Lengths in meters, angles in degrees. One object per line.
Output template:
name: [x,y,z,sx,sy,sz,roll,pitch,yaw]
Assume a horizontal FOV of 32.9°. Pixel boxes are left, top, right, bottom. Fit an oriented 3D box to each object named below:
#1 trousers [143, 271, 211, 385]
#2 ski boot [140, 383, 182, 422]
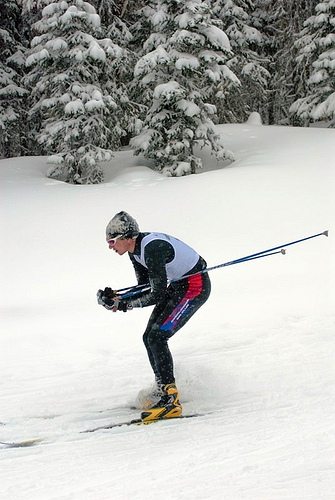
trousers: [0.068,0.613,4.609,0.582,0.843,0.337,-13,13,-26]
ski boot: [-0.042,1.182,4.418,0.482,0.228,0.213,-10,12,-41]
